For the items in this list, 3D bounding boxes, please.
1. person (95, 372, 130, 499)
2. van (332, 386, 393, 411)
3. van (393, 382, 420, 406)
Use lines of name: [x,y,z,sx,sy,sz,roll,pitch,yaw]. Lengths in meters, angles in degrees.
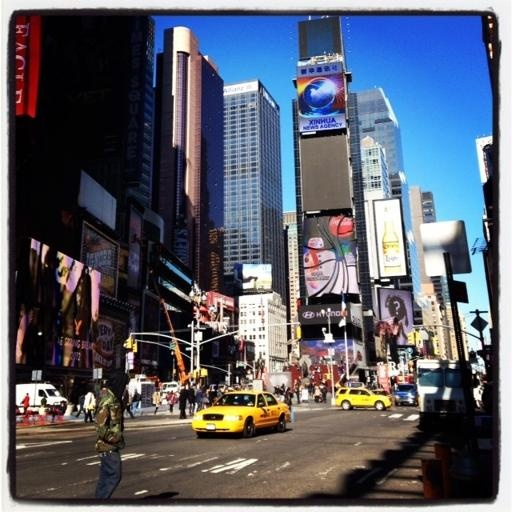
person: [-2.228,2.718,8.082,0.438,1.873,0.638,3,-12,-18]
van: [7.891,10.600,38.955,3.845,1.850,1.892,-10,-17,27]
van: [12.494,11.600,43.965,1.800,1.828,3.143,-5,-14,15]
